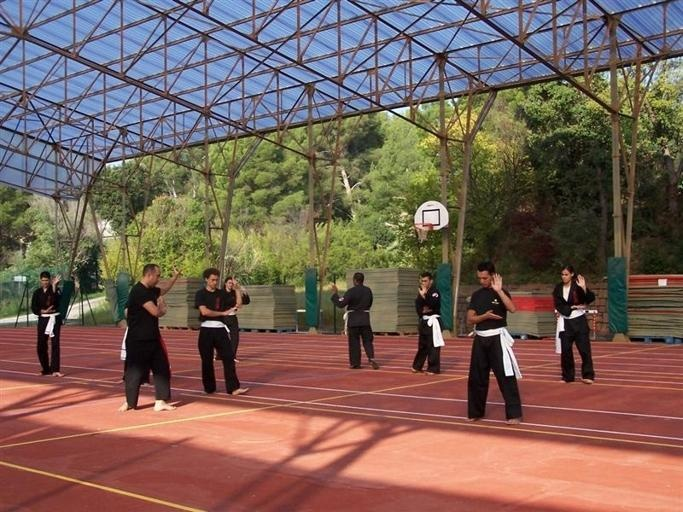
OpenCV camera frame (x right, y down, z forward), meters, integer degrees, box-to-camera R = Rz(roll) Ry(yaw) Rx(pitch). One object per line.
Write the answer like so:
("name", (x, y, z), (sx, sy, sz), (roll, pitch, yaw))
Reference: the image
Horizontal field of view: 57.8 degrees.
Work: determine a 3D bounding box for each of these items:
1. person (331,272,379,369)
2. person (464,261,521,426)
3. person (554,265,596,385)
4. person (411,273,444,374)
("person", (0.386, 1.516, 14.584), (1.235, 2.253, 0.857), (-2, -4, 28))
("person", (2.136, 1.207, 8.798), (0.771, 2.261, 0.704), (-2, -2, 16))
("person", (4.752, 1.364, 12.544), (0.771, 2.327, 1.123), (-3, -2, 22))
("person", (1.939, 1.485, 13.965), (0.683, 2.258, 0.916), (-2, -2, 6))
